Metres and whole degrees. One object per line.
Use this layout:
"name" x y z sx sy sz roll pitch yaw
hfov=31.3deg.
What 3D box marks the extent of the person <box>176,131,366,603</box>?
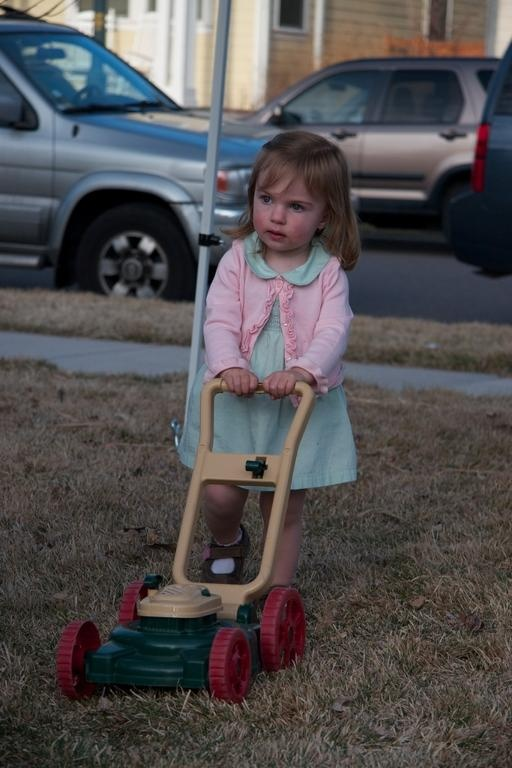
"person" 0.029 -0.060 2.476 0.508 1.251 0.569 2 9 6
